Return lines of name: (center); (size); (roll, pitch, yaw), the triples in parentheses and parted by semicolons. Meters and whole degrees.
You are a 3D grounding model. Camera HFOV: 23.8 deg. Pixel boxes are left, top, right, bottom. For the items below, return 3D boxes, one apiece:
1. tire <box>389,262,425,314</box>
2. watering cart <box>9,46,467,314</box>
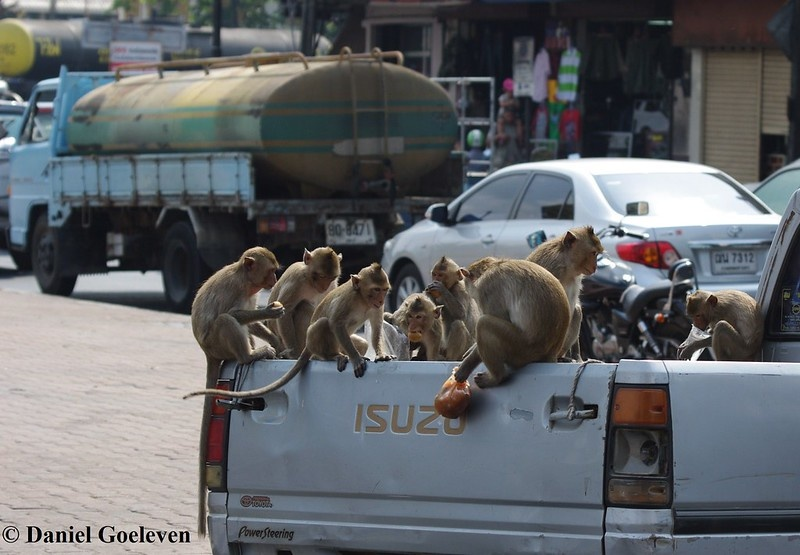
tire: (0.077, 0.088, 20.943); (0.170, 0.545, 0.523); (-1, 8, -23)
watering cart: (-2.482, -1.517, 25.408); (5.422, 2.929, 3.110); (10, 13, 43)
